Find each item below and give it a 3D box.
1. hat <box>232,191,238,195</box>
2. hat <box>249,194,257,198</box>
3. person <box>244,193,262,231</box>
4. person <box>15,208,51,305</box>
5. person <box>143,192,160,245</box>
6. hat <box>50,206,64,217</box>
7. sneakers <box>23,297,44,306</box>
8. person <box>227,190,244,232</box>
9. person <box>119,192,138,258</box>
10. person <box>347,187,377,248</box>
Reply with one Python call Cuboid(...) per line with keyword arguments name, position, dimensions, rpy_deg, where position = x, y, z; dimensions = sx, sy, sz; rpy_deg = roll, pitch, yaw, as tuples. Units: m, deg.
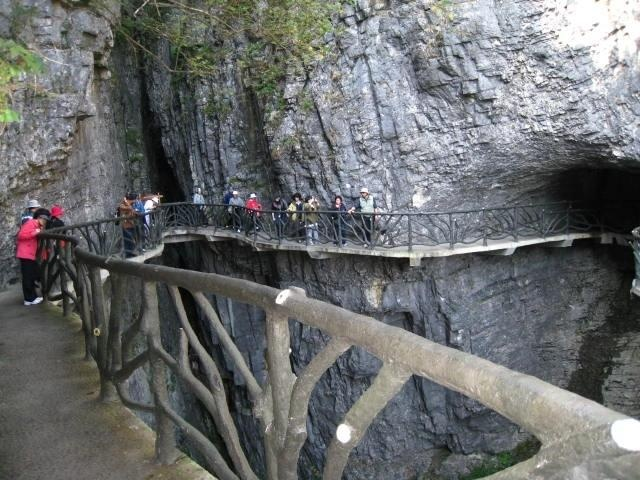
Cuboid(name="hat", position=(-2.728, -1.492, 16.431), dimensions=(0.139, 0.107, 0.218), rpy_deg=(10, 10, -14))
Cuboid(name="hat", position=(-2.141, -1.401, 16.289), dimensions=(0.275, 0.111, 0.311), rpy_deg=(-6, 1, -5))
Cuboid(name="person", position=(-1.972, -0.627, 15.059), dimensions=(0.457, 0.895, 1.607), rpy_deg=(-1, 13, -9))
Cuboid(name="person", position=(-5.089, 0.356, 9.153), dimensions=(0.556, 1.581, 1.585), rpy_deg=(-6, 15, -29))
Cuboid(name="person", position=(-4.168, -0.466, 12.634), dimensions=(0.227, 0.370, 1.371), rpy_deg=(2, 42, -10))
Cuboid(name="hat", position=(-5.422, -0.604, 10.512), dimensions=(0.264, 0.149, 0.370), rpy_deg=(10, -3, -40))
Cuboid(name="sneakers", position=(-4.835, 1.042, 8.659), dimensions=(0.338, 0.164, 0.131), rpy_deg=(1, -9, 1))
Cuboid(name="person", position=(-2.638, -0.857, 15.941), dimensions=(0.438, 1.115, 1.624), rpy_deg=(-2, 13, -11))
Cuboid(name="person", position=(-4.311, -0.273, 11.496), dimensions=(0.389, 1.199, 2.176), rpy_deg=(-4, 14, -21))
Cuboid(name="person", position=(1.153, -0.652, 13.527), dimensions=(0.634, 1.336, 2.306), rpy_deg=(2, 13, 5))
